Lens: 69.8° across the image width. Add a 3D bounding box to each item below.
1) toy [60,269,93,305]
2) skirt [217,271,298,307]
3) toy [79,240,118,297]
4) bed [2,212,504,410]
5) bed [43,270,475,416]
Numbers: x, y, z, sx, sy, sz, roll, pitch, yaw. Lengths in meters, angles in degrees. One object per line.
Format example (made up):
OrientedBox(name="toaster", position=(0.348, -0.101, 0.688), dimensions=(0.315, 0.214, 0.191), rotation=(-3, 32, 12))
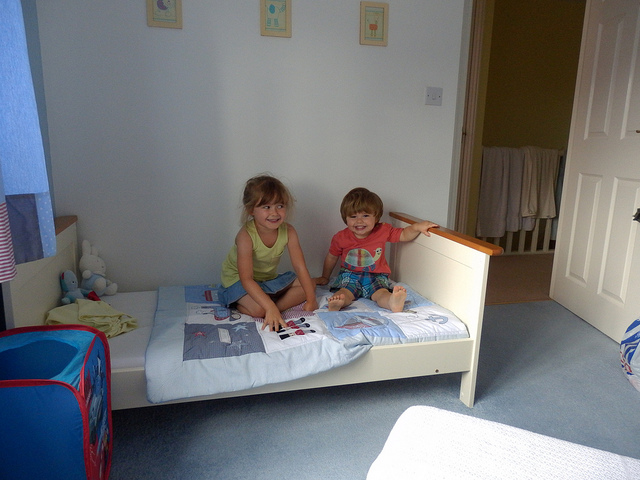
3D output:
OrientedBox(name="toy", position=(-1.113, 0.216, 2.090), dimensions=(0.079, 0.146, 0.104), rotation=(-11, 9, 17))
OrientedBox(name="skirt", position=(-0.303, 0.233, 2.178), dimensions=(0.378, 0.166, 0.384), rotation=(-5, 3, -42))
OrientedBox(name="toy", position=(-1.130, 0.138, 2.314), dimensions=(0.172, 0.289, 0.180), rotation=(0, -14, -17))
OrientedBox(name="bed", position=(-0.184, 0.340, 1.993), dimensions=(1.478, 0.684, 1.027), rotation=(-4, 18, -15))
OrientedBox(name="bed", position=(-0.122, 0.407, 1.827), dimensions=(1.279, 0.215, 0.734), rotation=(-4, 20, -15))
